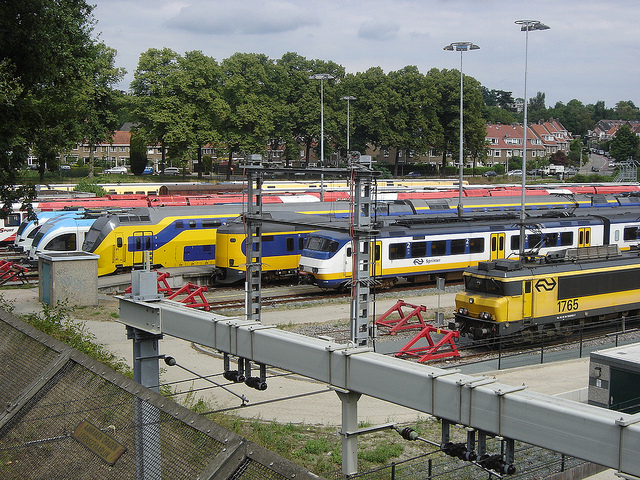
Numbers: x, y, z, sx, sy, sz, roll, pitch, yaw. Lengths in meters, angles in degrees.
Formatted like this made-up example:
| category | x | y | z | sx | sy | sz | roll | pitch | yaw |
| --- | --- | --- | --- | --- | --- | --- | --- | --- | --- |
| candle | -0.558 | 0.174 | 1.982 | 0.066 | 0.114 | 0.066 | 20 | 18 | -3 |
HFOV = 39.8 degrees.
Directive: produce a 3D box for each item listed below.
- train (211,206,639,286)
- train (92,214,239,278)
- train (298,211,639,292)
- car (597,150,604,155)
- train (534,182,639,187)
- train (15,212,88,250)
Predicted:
| category | x | y | z | sx | sy | sz | roll | pitch | yaw |
| --- | --- | --- | --- | --- | --- | --- | --- | --- | --- |
| train | 4.207 | 0.345 | 37.314 | 24.221 | 3.522 | 3.117 | -2 | 7 | -18 |
| train | -7.525 | 0.118 | 42.421 | 2.133 | 2.809 | 10.829 | -1 | 0 | 31 |
| train | 5.841 | 0.533 | 36.757 | 21.928 | 3.315 | 3.046 | -3 | 6 | -31 |
| car | 70.874 | -21.957 | 223.601 | 1.683 | 1.132 | 2.583 | 4 | 14 | 20 |
| train | 28.644 | -5.801 | 91.661 | 6.321 | 0.274 | 28.484 | 5 | 6 | 23 |
| train | -12.789 | -0.409 | 41.920 | 3.390 | 1.021 | 3.124 | -1 | 5 | -21 |
